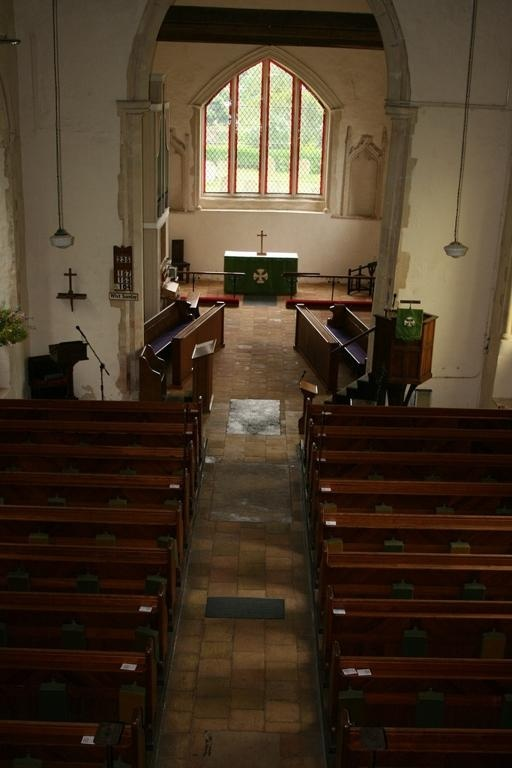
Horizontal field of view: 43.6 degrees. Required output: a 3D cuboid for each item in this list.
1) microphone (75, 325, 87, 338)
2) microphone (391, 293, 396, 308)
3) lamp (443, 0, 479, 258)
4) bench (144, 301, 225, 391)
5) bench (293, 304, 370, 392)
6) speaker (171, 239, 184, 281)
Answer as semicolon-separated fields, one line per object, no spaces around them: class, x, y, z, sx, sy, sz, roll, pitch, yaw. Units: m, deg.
microphone;-2.525;-0.731;9.182;0.156;0.213;0.100;7;12;24
microphone;1.962;-1.189;9.100;0.073;0.203;0.039;-1;12;-15
lamp;2.755;-3.287;8.465;0.231;3.218;0.466;7;12;24
bench;-1.170;-0.582;10.282;0.555;0.471;1.556;7;22;18
bench;1.291;-0.647;10.839;1.159;1.172;2.904;2;11;0
speaker;-2.030;-3.244;16.563;0.351;0.995;0.683;0;11;-7
